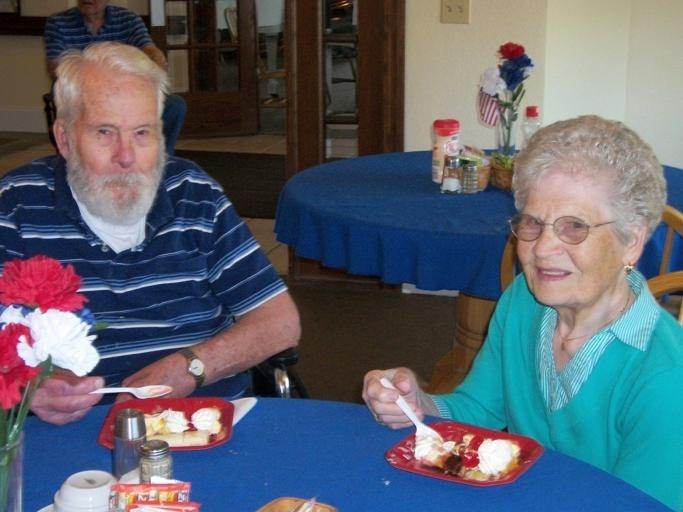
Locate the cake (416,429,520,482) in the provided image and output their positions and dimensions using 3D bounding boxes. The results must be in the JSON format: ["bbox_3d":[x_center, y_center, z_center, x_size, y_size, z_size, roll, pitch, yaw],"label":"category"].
[{"bbox_3d":[0.215,0.347,1.076,0.107,0.017,0.079,3,21,27],"label":"cake"}]

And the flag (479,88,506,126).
[{"bbox_3d":[0.650,-0.664,2.747,0.100,0.150,0.037,2,20,32],"label":"flag"}]

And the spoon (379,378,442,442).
[{"bbox_3d":[0.121,0.300,1.223,0.036,0.044,0.205,37,17,-55],"label":"spoon"}]

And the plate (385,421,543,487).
[{"bbox_3d":[0.214,0.355,1.081,0.151,0.020,0.113,4,19,35],"label":"plate"}]

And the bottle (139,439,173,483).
[{"bbox_3d":[-0.271,0.307,0.902,0.045,0.063,0.051,-5,17,-13],"label":"bottle"}]

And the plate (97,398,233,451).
[{"bbox_3d":[-0.319,0.338,1.233,0.176,0.023,0.127,1,29,-1],"label":"plate"}]

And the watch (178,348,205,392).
[{"bbox_3d":[-0.384,0.294,1.599,0.050,0.095,0.077,-15,21,-38],"label":"watch"}]

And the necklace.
[{"bbox_3d":[0.533,0.125,1.322,0.126,0.121,0.158,7,20,44],"label":"necklace"}]

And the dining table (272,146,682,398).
[{"bbox_3d":[0.228,-0.027,2.522,1.360,0.819,1.315,-5,23,-10],"label":"dining table"}]

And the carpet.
[{"bbox_3d":[-1.005,-0.829,6.648,1.323,0.303,1.248,4,24,5],"label":"carpet"}]
